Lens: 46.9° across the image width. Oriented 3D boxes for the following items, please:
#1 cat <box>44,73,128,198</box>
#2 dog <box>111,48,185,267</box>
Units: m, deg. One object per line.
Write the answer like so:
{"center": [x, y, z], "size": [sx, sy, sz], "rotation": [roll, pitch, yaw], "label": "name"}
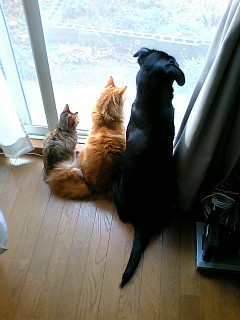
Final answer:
{"center": [-0.090, -0.075, 1.652], "size": [0.311, 0.453, 0.912], "rotation": [4, 42, 22], "label": "cat"}
{"center": [0.050, 0.031, 1.367], "size": [0.296, 1.069, 0.472], "rotation": [5, 19, 7], "label": "dog"}
